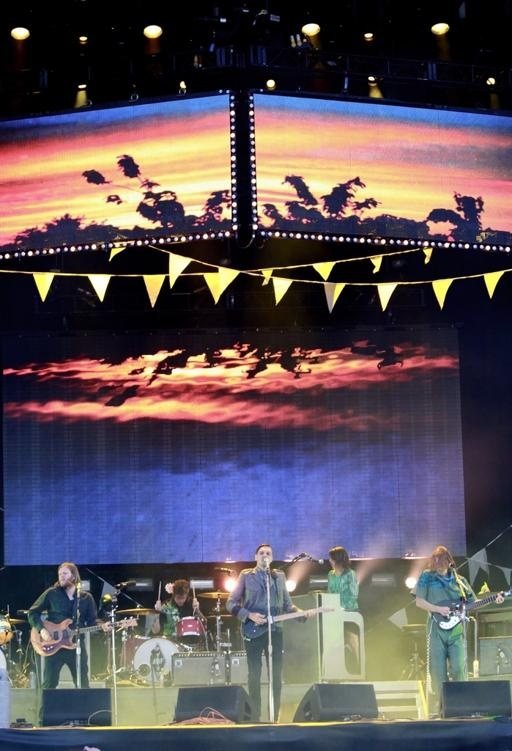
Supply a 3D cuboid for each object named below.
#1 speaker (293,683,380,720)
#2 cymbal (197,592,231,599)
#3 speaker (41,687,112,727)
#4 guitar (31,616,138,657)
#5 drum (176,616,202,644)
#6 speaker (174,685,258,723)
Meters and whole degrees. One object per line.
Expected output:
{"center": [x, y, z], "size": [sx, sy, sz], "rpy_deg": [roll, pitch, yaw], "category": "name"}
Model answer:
{"center": [0.472, 1.797, 6.775], "size": [0.418, 0.238, 0.301], "rpy_deg": [8, -21, -18], "category": "speaker"}
{"center": [-0.342, 2.053, 11.307], "size": [0.226, 0.045, 0.216], "rpy_deg": [4, -5, -36], "category": "cymbal"}
{"center": [-1.004, 1.848, 6.736], "size": [0.462, 0.201, 0.278], "rpy_deg": [0, 2, 0], "category": "speaker"}
{"center": [-1.390, 1.974, 9.106], "size": [0.605, 0.264, 0.223], "rpy_deg": [-2, -11, -3], "category": "guitar"}
{"center": [-0.583, 2.221, 10.571], "size": [0.228, 0.135, 0.214], "rpy_deg": [0, -8, 0], "category": "drum"}
{"center": [-0.246, 1.834, 6.801], "size": [0.363, 0.172, 0.260], "rpy_deg": [-3, 14, 10], "category": "speaker"}
